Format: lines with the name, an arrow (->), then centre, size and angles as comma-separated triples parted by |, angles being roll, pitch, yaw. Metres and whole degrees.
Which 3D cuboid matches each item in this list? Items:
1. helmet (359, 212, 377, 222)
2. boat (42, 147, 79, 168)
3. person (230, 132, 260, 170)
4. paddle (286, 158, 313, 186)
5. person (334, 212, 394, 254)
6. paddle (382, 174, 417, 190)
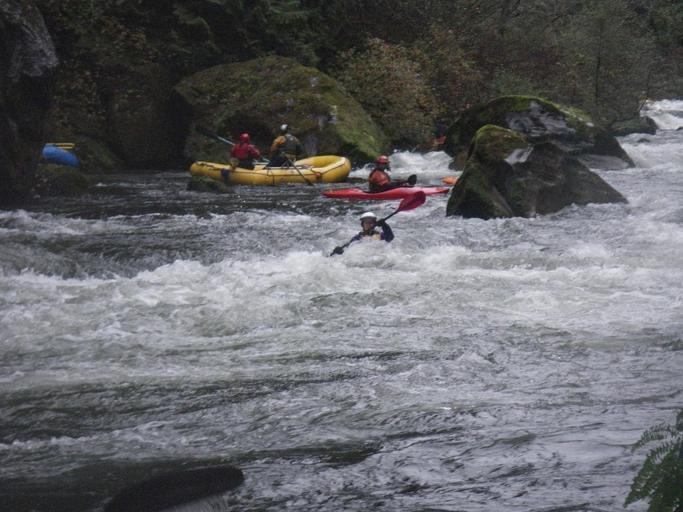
helmet -> 0.405, -0.633, 14.054 | 0.402, 0.109, 0.406 | 0, -4, 4
boat -> -7.245, -2.580, 22.496 | 0.735, 0.569, 1.025 | -3, 6, -7
person -> -2.390, -2.541, 21.357 | 0.648, 0.858, 0.637 | -3, 7, -4
paddle -> -0.979, -2.031, 21.189 | 0.409, 0.640, 0.784 | -8, 8, -36
person -> 0.318, -0.335, 13.552 | 1.216, 0.289, 0.524 | -25, 35, -34
paddle -> 1.240, -1.537, 18.273 | 0.847, 0.194, 0.296 | -15, 19, -20
